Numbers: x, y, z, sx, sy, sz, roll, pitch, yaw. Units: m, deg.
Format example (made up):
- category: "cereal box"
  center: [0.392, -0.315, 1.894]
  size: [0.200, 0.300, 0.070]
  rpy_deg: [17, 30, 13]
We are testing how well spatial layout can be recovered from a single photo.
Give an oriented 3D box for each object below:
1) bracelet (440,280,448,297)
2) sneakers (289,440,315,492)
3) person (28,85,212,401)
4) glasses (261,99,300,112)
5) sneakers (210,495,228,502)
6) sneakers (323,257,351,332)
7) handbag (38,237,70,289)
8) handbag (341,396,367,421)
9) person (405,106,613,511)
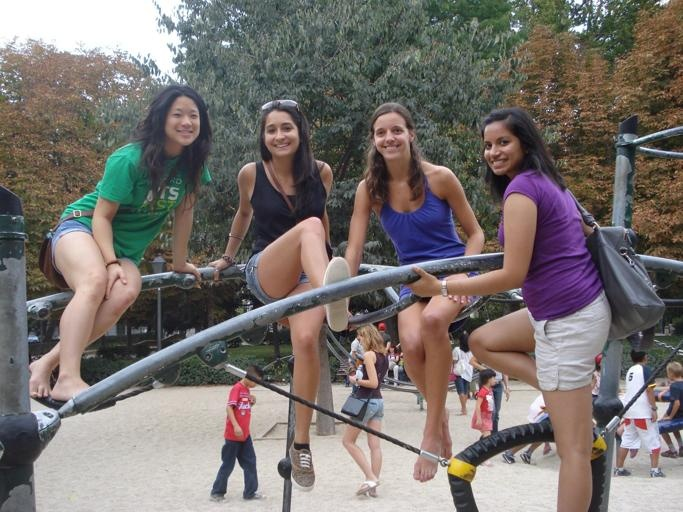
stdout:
- category: "bracelet"
  center: [0.638, 0.197, 4.640]
  size: [0.050, 0.088, 0.076]
  rpy_deg: [1, 4, 10]
- category: "sneakers"
  center: [-0.265, 1.468, 5.253]
  size: [0.126, 0.147, 0.365]
  rpy_deg: [5, 39, -24]
- category: "person"
  center: [-1.416, -0.145, 5.089]
  size: [1.098, 2.158, 0.696]
  rpy_deg: [0, 0, -28]
- category: "glasses"
  center: [-0.451, -1.133, 5.482]
  size: [0.262, 0.114, 0.164]
  rpy_deg: [0, 0, 17]
- category: "sneakers"
  center: [-1.509, 2.985, 9.109]
  size: [0.187, 0.071, 0.176]
  rpy_deg: [0, 0, -10]
- category: "sneakers"
  center: [-0.008, 0.237, 4.529]
  size: [0.143, 0.476, 0.172]
  rpy_deg: [-5, 13, -20]
- category: "handbag"
  center: [-2.010, 0.050, 5.135]
  size: [0.247, 0.315, 0.321]
  rpy_deg: [1, -3, -36]
- category: "handbag"
  center: [0.092, 1.030, 4.917]
  size: [0.150, 0.179, 0.276]
  rpy_deg: [0, 0, 8]
- category: "person"
  center: [1.215, 0.339, 4.711]
  size: [0.937, 2.642, 0.595]
  rpy_deg: [0, 0, 21]
